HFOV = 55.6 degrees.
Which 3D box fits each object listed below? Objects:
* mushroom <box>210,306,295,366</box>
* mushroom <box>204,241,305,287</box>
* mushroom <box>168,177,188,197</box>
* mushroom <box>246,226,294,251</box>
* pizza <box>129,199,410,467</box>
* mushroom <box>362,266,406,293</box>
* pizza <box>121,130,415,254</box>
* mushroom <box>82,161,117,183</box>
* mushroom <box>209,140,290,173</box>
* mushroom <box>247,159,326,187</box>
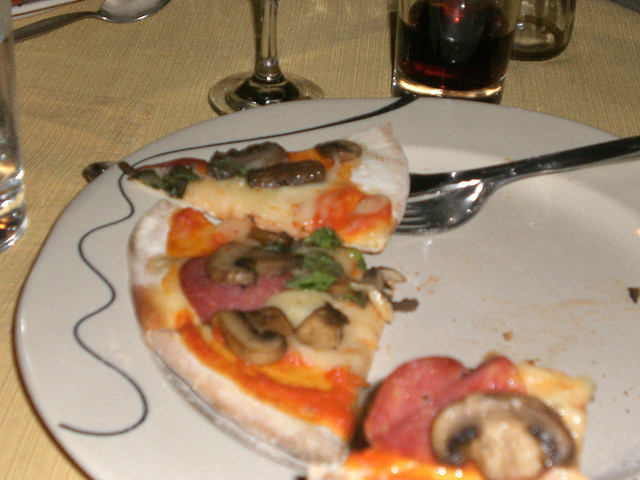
[{"bbox_3d":[-0.046,0.084,0.504,0.047,0.014,0.053,-14,57,-27],"label":"mushroom"},{"bbox_3d":[-0.064,0.022,0.550,0.068,0.018,0.043,7,41,2],"label":"mushroom"},{"bbox_3d":[-0.136,-0.054,0.593,0.016,0.005,0.022,-28,58,-18],"label":"mushroom"},{"bbox_3d":[-0.048,-0.001,0.576,0.036,0.010,0.021,11,69,1],"label":"mushroom"},{"bbox_3d":[-0.047,0.042,0.569,0.264,0.031,0.274,36,38,12],"label":"pizza"},{"bbox_3d":[0.059,0.039,0.566,0.031,0.008,0.023,12,43,3],"label":"mushroom"},{"bbox_3d":[-0.052,-0.040,0.629,0.252,0.038,0.128,5,54,-9],"label":"pizza"},{"bbox_3d":[-0.231,-0.071,0.636,0.032,0.008,0.019,-32,24,-12],"label":"mushroom"},{"bbox_3d":[-0.066,-0.086,0.621,0.057,0.012,0.039,-7,45,-4],"label":"mushroom"},{"bbox_3d":[-0.034,-0.065,0.605,0.060,0.012,0.033,-4,46,1],"label":"mushroom"}]
